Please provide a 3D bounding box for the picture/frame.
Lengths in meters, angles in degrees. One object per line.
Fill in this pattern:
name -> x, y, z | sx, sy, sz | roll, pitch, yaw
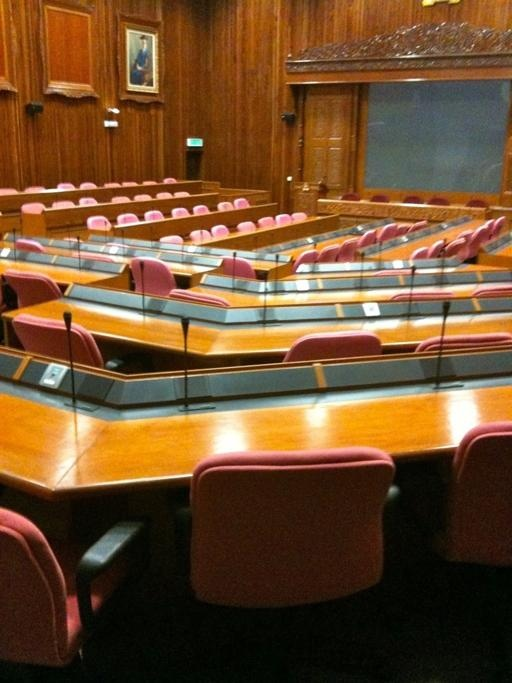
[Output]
picture/frame -> -2.623, -6.346, 12.107 | 0.302, 1.872, 1.306 | 6, 12, 25

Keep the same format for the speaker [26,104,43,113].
speaker -> -4.181, -4.394, 10.148 | 0.180, 0.167, 0.256 | 31, 32, 17

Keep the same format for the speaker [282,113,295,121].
speaker -> 0.780, -5.344, 12.885 | 0.245, 0.207, 0.233 | 2, 35, -1
